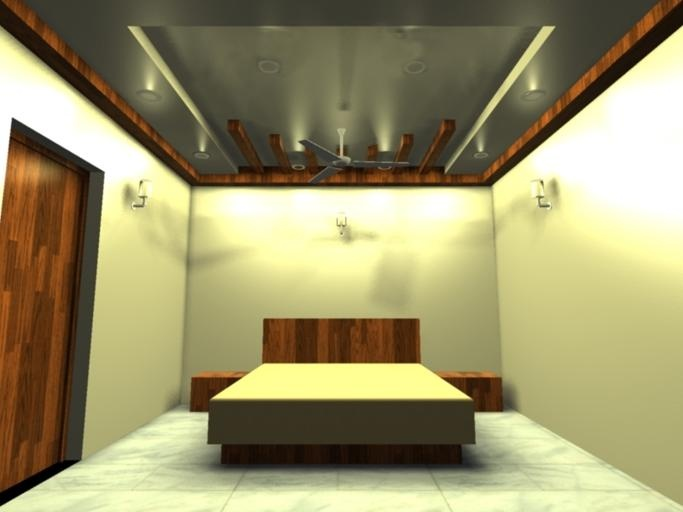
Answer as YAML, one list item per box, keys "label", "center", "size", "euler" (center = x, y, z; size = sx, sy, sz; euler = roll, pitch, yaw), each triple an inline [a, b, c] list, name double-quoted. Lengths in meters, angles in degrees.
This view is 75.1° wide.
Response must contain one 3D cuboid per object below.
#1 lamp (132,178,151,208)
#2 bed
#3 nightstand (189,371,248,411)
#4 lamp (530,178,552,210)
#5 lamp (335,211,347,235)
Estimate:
- label: "lamp"
  center: [-1.945, -0.601, 4.399]
  size: [0.163, 0.305, 0.279]
  euler: [0, -2, -8]
- label: "bed"
  center: [-0.007, 1.176, 4.344]
  size: [1.867, 0.927, 1.852]
  euler: [0, -2, 0]
- label: "nightstand"
  center: [-1.430, 1.475, 5.122]
  size: [0.777, 0.459, 0.401]
  euler: [0, -3, -1]
- label: "lamp"
  center: [1.927, -0.602, 4.387]
  size: [0.175, 0.311, 0.295]
  euler: [0, -2, 8]
- label: "lamp"
  center: [-0.008, -0.410, 5.651]
  size: [0.155, 0.288, 0.268]
  euler: [0, -2, 1]
